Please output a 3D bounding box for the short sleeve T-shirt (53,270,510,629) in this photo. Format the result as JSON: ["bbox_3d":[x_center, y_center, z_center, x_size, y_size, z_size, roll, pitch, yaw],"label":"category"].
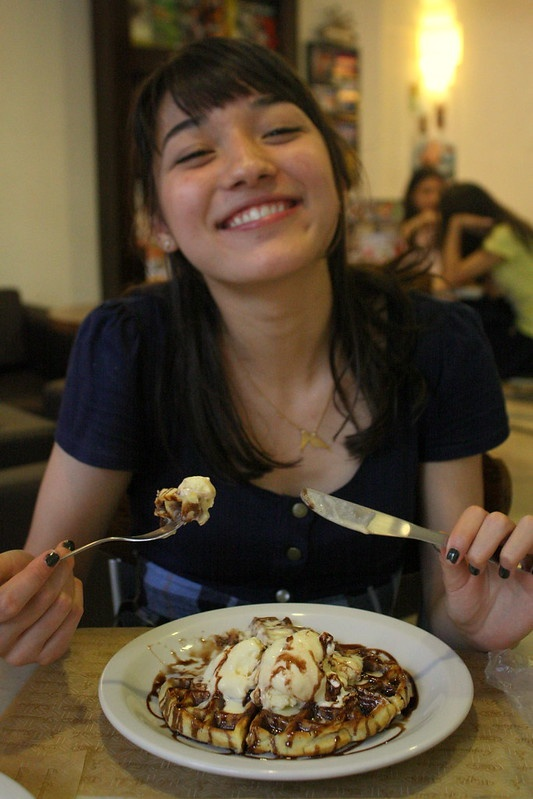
[{"bbox_3d":[0.109,0.194,1.409,0.989,0.789,0.508,-1,3,-4],"label":"short sleeve T-shirt"}]

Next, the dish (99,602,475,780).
[{"bbox_3d":[-0.056,0.282,0.709,0.204,0.025,0.194,10,22,-4],"label":"dish"}]
